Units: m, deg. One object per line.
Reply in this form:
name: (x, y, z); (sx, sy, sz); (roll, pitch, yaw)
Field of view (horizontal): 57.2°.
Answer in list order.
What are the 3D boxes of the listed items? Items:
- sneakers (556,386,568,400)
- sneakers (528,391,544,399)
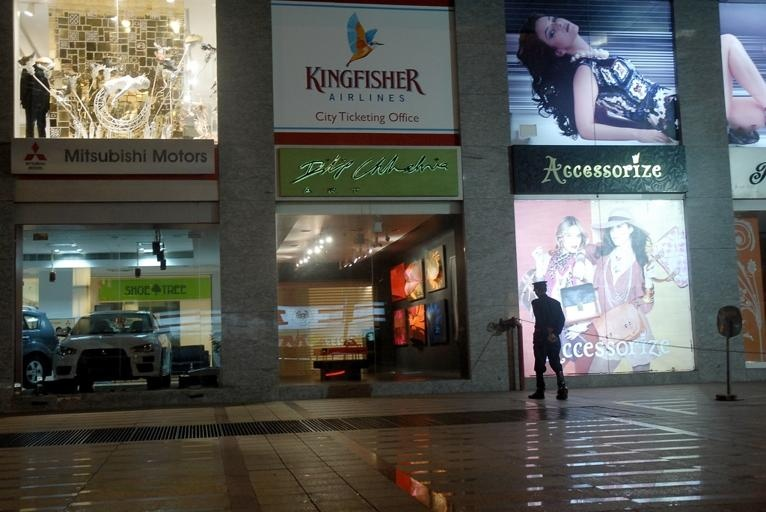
sneakers: (3.126, 2.514, 12.319); (0.130, 0.342, 0.255); (-2, 20, 6)
sneakers: (2.734, 2.537, 12.579); (0.291, 0.128, 0.487); (-3, -5, 11)
